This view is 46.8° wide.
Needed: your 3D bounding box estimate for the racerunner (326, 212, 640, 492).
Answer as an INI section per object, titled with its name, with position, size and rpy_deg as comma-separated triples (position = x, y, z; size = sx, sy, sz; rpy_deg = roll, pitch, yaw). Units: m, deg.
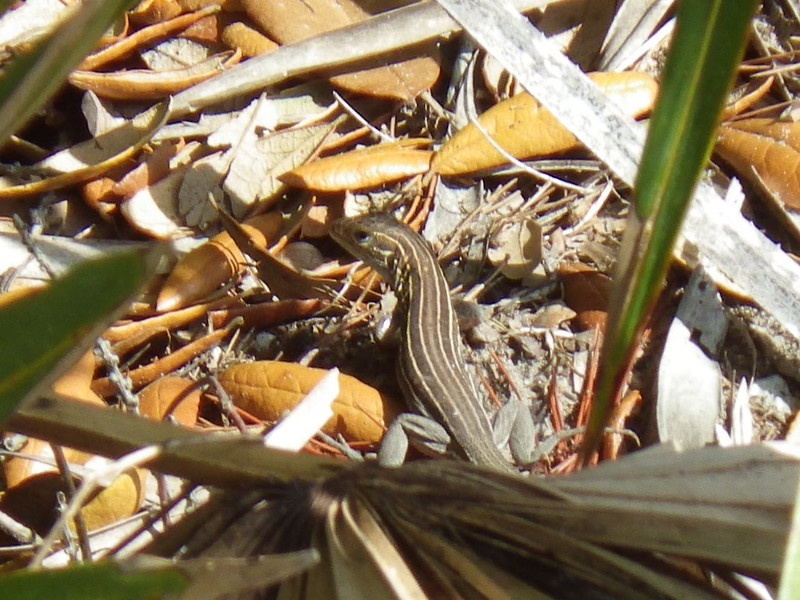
[racerunner]
position = 0.206, 0.147, 3.090
size = 0.256, 1.012, 0.616
rpy_deg = -29, -10, 40
